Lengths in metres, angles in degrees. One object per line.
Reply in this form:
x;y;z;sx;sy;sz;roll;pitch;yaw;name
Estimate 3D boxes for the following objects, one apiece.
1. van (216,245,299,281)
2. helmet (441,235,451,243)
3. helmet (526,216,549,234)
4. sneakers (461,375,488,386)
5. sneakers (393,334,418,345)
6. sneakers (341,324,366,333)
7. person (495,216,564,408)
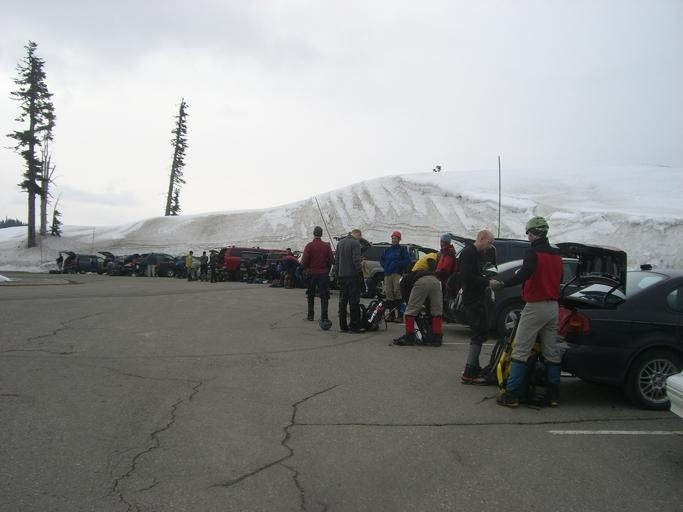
-5.909;0.371;30.323;4.254;1.831;2.760;-3;1;11;van
2.329;-0.377;10.712;0.230;0.198;0.166;3;8;-24;helmet
2.506;-0.391;6.051;0.230;0.273;0.293;6;3;5;helmet
1.863;1.739;6.713;0.293;0.114;0.139;1;0;-9;sneakers
1.272;1.648;9.507;0.518;0.238;0.200;3;-2;13;sneakers
0.266;1.642;10.890;0.559;0.207;0.198;0;0;5;sneakers
2.313;0.681;5.861;0.810;2.262;0.384;-2;5;-8;person
